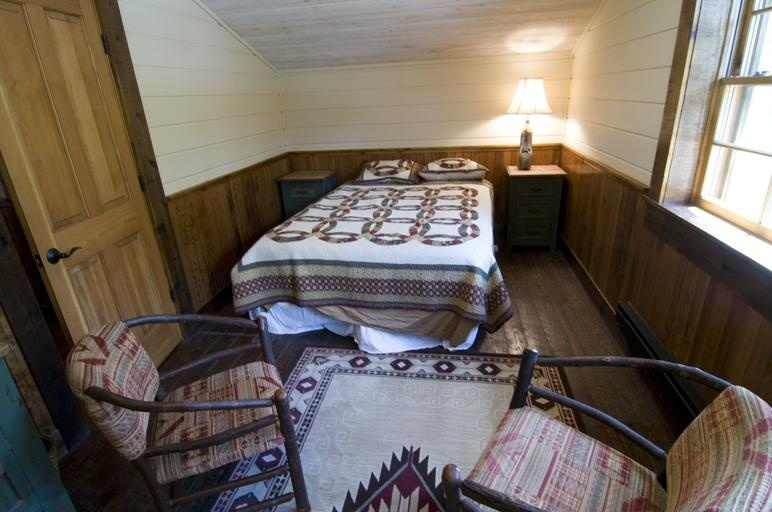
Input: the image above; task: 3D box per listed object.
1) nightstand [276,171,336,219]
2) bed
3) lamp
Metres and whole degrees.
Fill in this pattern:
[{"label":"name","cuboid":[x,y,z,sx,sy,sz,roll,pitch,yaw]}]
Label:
[{"label":"nightstand","cuboid":[-0.791,-0.717,5.091,0.547,0.750,0.491,1,22,5]},{"label":"bed","cuboid":[0.056,-0.060,4.187,2.293,0.781,2.471,8,25,23]},{"label":"lamp","cuboid":[1.369,-1.268,4.626,0.405,0.840,0.376,4,19,17]}]
